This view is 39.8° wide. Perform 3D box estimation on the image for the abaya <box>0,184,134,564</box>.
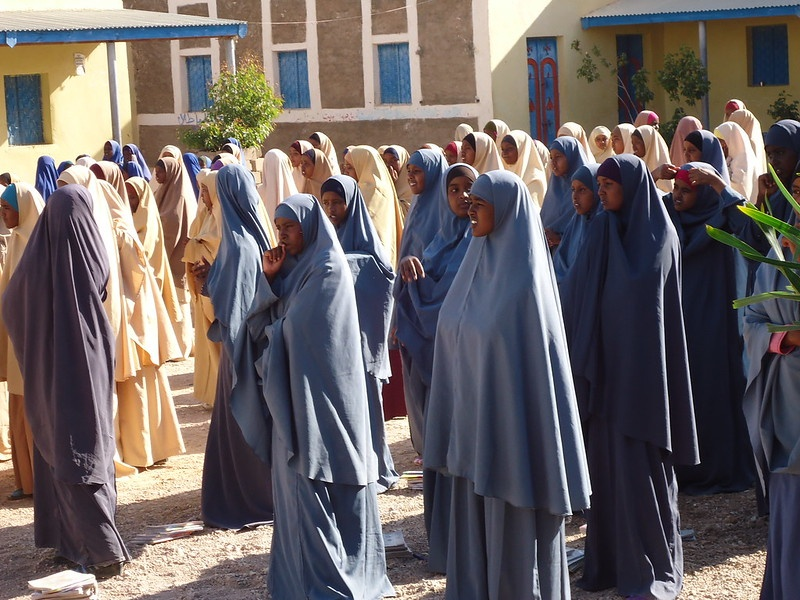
[{"bbox_3d":[-2.043,0.516,6.801,0.622,2.406,0.431,-6,7,-14],"label":"abaya"}]
